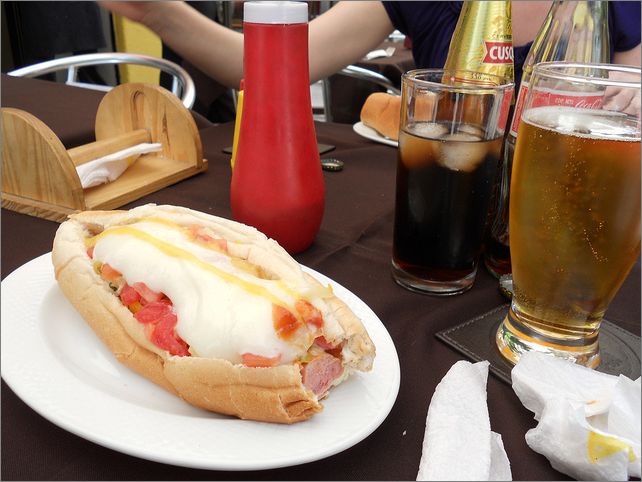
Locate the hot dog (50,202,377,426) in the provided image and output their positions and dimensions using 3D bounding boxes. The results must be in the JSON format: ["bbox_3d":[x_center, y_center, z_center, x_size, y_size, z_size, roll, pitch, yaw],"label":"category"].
[{"bbox_3d":[-0.218,0.086,0.849,0.539,0.154,0.286,33,38,28],"label":"hot dog"}]

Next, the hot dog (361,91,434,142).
[{"bbox_3d":[0.288,-0.485,1.915,0.209,0.097,0.273,-28,39,-18],"label":"hot dog"}]
